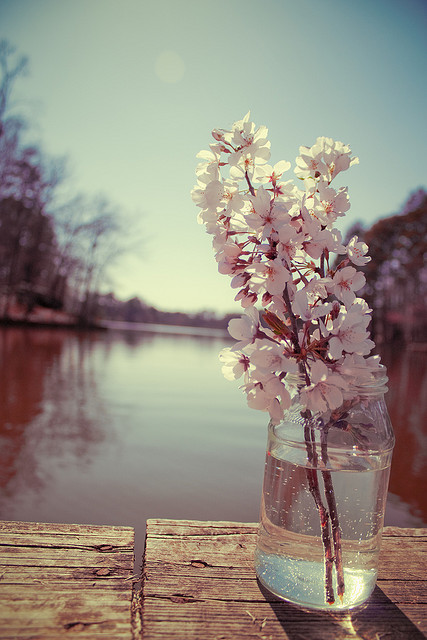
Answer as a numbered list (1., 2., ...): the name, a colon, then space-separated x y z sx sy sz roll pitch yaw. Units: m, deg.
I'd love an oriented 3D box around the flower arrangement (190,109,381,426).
1. flower arrangement: 0.115 -0.070 0.851 0.285 0.470 0.197 7 -4 -24
